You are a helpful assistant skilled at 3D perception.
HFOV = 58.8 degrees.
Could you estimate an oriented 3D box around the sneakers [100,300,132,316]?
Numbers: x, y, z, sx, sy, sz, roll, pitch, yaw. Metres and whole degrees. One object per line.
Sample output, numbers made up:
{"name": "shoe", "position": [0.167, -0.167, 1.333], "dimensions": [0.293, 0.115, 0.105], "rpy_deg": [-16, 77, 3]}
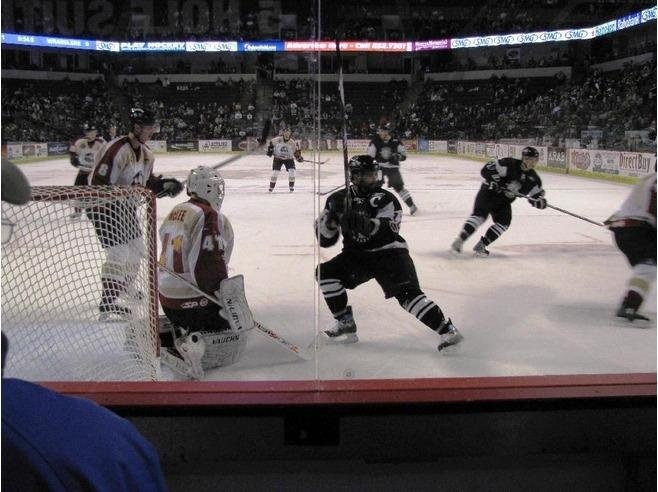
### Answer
{"name": "sneakers", "position": [-1.086, 0.318, 2.972], "dimensions": [0.141, 0.048, 0.106], "rpy_deg": [8, 6, -41]}

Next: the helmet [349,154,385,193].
{"name": "helmet", "position": [0.202, -0.409, 3.264], "dimensions": [0.177, 0.204, 0.224], "rpy_deg": [1, 12, 5]}

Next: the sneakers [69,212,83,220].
{"name": "sneakers", "position": [-1.391, -0.169, 3.190], "dimensions": [0.057, 0.069, 0.157], "rpy_deg": [-1, 8, -24]}

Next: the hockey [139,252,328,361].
{"name": "hockey", "position": [-0.520, 0.350, 3.166], "dimensions": [0.794, 0.148, 0.142], "rpy_deg": [34, -40, -27]}

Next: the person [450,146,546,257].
{"name": "person", "position": [1.608, -0.373, 5.215], "dimensions": [0.639, 1.091, 0.441], "rpy_deg": [18, -15, 34]}

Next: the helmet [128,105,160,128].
{"name": "helmet", "position": [-1.176, -0.819, 3.780], "dimensions": [0.224, 0.117, 0.149], "rpy_deg": [-7, 33, -30]}

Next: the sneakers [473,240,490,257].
{"name": "sneakers", "position": [1.370, 0.035, 5.221], "dimensions": [0.156, 0.157, 0.097], "rpy_deg": [-2, 9, -1]}

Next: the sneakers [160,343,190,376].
{"name": "sneakers", "position": [-0.758, 0.577, 2.903], "dimensions": [0.166, 0.061, 0.120], "rpy_deg": [37, -6, -5]}

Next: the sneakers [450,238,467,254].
{"name": "sneakers", "position": [1.150, -0.001, 5.186], "dimensions": [0.091, 0.149, 0.151], "rpy_deg": [10, -8, 8]}

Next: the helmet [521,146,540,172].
{"name": "helmet", "position": [1.798, -0.759, 5.084], "dimensions": [0.149, 0.197, 0.205], "rpy_deg": [0, -13, -1]}

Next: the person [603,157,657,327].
{"name": "person", "position": [1.848, -0.007, 3.552], "dimensions": [0.280, 0.923, 0.280], "rpy_deg": [4, 12, 17]}

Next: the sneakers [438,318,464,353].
{"name": "sneakers", "position": [0.651, 0.474, 3.090], "dimensions": [0.131, 0.184, 0.065], "rpy_deg": [1, 12, 2]}

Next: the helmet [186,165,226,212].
{"name": "helmet", "position": [-0.641, -0.304, 3.016], "dimensions": [0.184, 0.242, 0.236], "rpy_deg": [14, 14, 42]}
